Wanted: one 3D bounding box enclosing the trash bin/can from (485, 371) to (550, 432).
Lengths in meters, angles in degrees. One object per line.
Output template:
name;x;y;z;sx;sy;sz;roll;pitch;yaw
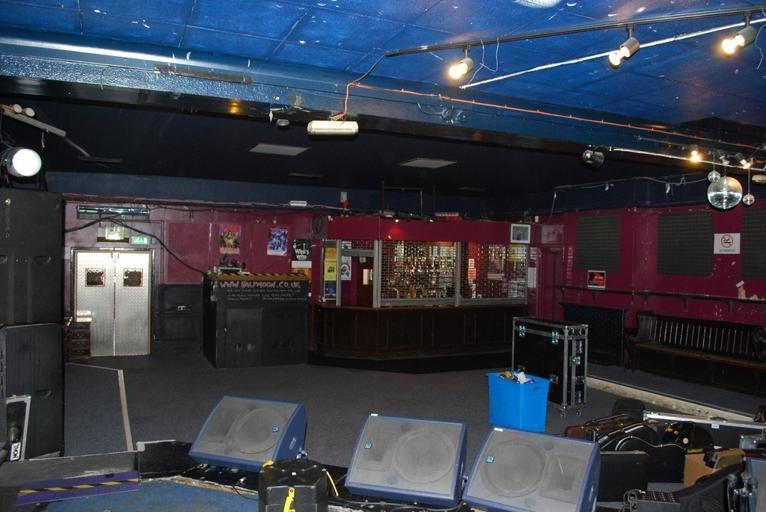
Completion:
trash bin/can;2.056;2.268;8.700;0.597;0.743;0.917;4;-4;-29

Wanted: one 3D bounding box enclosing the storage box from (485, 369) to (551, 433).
storage box;2.024;2.181;8.278;0.779;0.852;1.126;2;-3;-28

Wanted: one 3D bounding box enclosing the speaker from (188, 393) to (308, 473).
speaker;-1.275;1.686;5.251;0.894;0.575;0.715;-1;-4;27

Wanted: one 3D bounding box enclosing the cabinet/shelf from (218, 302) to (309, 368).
cabinet/shelf;-2.695;1.313;12.237;2.215;1.431;1.221;1;7;-17

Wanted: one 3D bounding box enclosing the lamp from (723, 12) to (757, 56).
lamp;3.659;-2.258;5.692;0.285;0.324;0.296;0;0;31

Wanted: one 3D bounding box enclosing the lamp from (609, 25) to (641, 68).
lamp;2.595;-2.210;5.978;0.274;0.326;0.701;0;0;23
